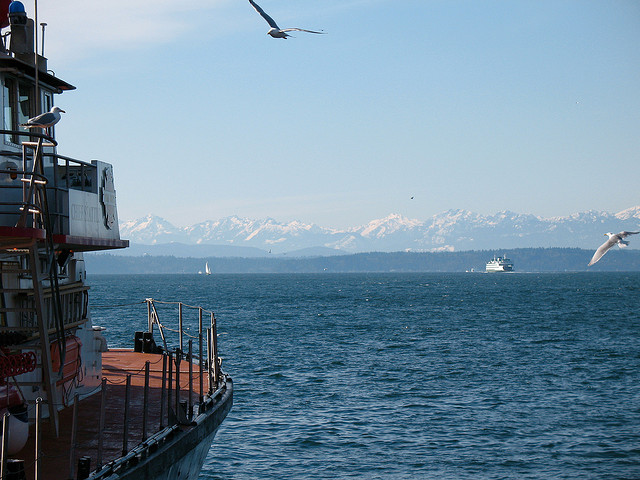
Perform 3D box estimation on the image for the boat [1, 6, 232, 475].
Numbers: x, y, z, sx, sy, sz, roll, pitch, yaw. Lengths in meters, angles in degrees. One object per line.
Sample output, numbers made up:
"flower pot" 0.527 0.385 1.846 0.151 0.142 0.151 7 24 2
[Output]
"boat" -8.374 -0.139 51.784 9.159 19.079 16.642 0 1 4
